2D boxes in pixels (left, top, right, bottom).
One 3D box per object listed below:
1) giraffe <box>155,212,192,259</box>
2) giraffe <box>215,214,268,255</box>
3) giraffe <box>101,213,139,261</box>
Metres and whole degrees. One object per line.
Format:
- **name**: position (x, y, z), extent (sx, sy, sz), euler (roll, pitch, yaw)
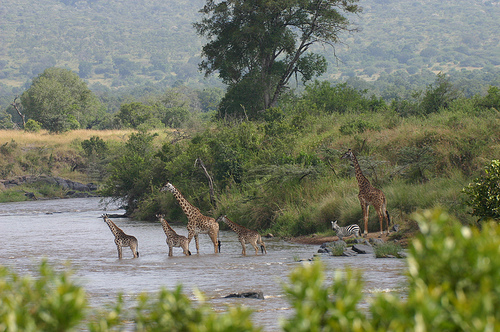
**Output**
- **giraffe**: position (-16.351, 16.098, 201.200), extent (6.167, 10.104, 8.870), euler (-1, 20, -4)
- **giraffe**: position (-1.887, 15.452, 199.917), extent (11.355, 7.915, 2.612), euler (5, -5, -20)
- **giraffe**: position (-27.562, 15.228, 199.789), extent (7.192, 9.906, 4.090), euler (0, 3, 30)
